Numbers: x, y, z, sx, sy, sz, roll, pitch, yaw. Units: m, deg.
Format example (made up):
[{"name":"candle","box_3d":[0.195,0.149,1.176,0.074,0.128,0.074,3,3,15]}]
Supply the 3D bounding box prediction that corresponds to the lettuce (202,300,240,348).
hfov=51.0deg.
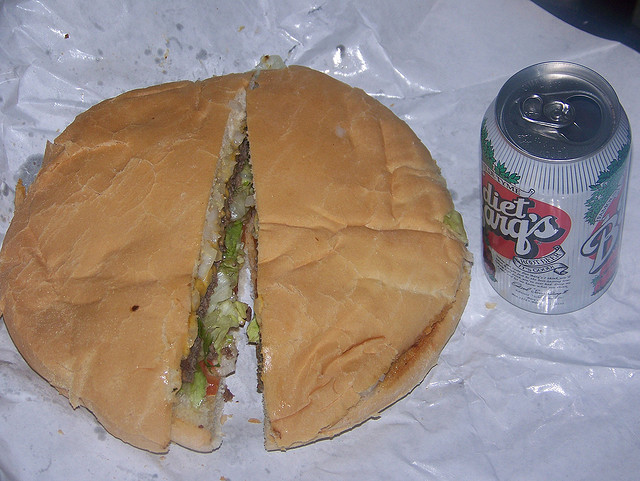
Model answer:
[{"name":"lettuce","box_3d":[-0.574,0.471,3.829,0.195,0.084,0.241,4,70,2]}]

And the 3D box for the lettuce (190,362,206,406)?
[{"name":"lettuce","box_3d":[-0.678,0.805,3.720,0.037,0.178,0.176,-13,17,18]}]

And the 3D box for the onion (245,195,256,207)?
[{"name":"onion","box_3d":[-0.411,-0.226,3.978,0.080,0.023,0.088,-10,69,29]}]

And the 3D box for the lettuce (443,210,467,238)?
[{"name":"lettuce","box_3d":[0.740,-0.072,3.685,0.113,0.035,0.153,-28,89,-34]}]

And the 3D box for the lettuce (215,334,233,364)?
[{"name":"lettuce","box_3d":[-0.554,0.625,3.892,0.053,0.051,0.190,18,43,-5]}]
